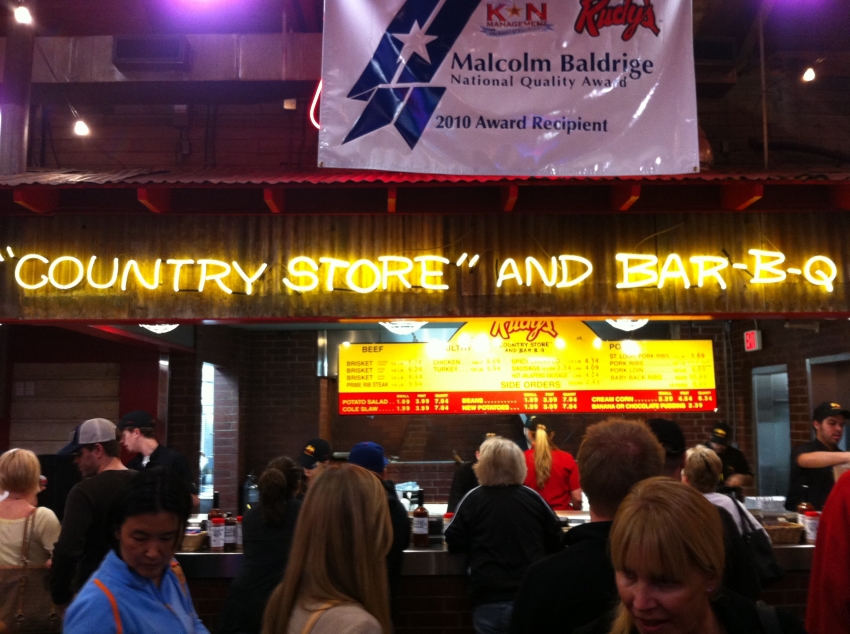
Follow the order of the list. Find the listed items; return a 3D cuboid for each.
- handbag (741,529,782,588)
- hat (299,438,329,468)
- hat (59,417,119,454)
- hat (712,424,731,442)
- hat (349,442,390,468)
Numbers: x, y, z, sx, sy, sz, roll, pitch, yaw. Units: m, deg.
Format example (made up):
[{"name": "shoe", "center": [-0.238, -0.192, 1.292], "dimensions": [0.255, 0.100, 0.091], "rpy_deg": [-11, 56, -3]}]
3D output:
[{"name": "handbag", "center": [2.091, 1.500, 6.048], "dimensions": [0.155, 0.474, 0.363], "rpy_deg": [-4, -15, 29]}, {"name": "hat", "center": [-0.849, 1.062, 7.719], "dimensions": [0.171, 0.136, 0.238], "rpy_deg": [17, 16, 29]}, {"name": "hat", "center": [-2.287, 0.812, 6.724], "dimensions": [0.350, 0.180, 0.229], "rpy_deg": [-2, -3, -13]}, {"name": "hat", "center": [2.671, 1.069, 8.993], "dimensions": [0.156, 0.143, 0.152], "rpy_deg": [6, -6, -36]}, {"name": "hat", "center": [-0.395, 0.978, 6.967], "dimensions": [0.182, 0.134, 0.258], "rpy_deg": [3, 2, 0]}]
